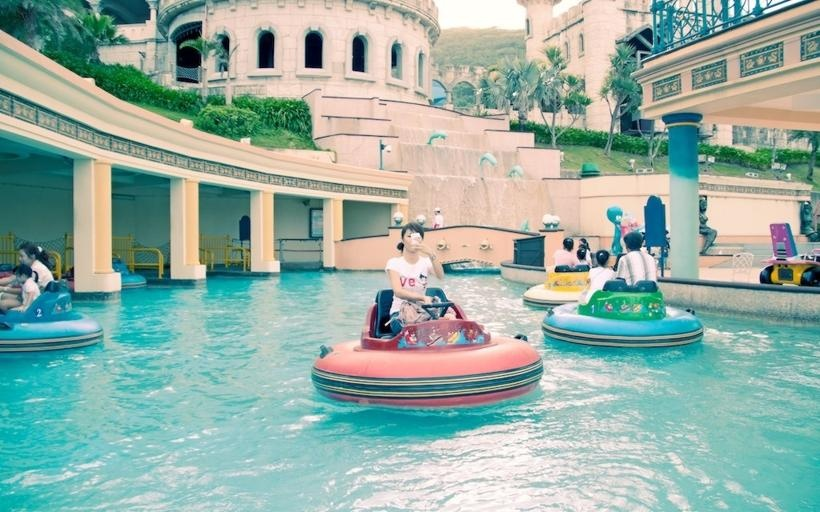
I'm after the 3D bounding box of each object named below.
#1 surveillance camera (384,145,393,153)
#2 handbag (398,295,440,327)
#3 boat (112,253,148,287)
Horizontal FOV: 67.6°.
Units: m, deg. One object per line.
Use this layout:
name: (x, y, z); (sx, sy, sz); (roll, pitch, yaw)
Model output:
surveillance camera: (-1.204, -6.029, 34.806); (0.403, 0.248, 0.379); (1, 3, 5)
handbag: (0.121, 0.837, 9.297); (0.530, 0.477, 0.213); (1, -32, 6)
boat: (-9.221, 0.544, 20.212); (0.911, 1.047, 2.258); (-2, 1, -24)
